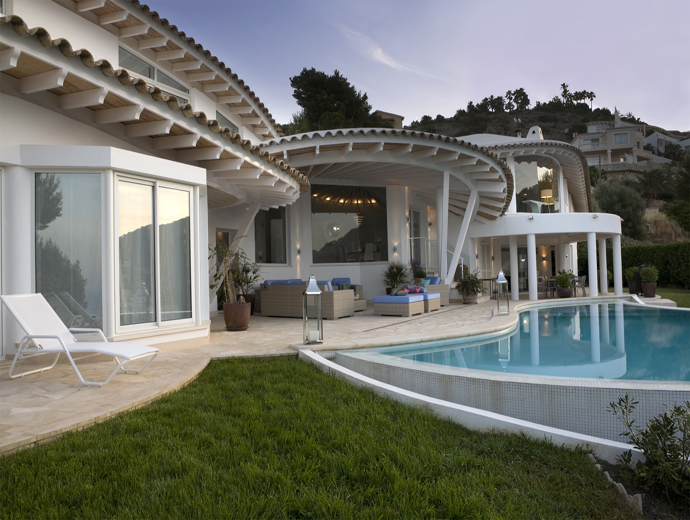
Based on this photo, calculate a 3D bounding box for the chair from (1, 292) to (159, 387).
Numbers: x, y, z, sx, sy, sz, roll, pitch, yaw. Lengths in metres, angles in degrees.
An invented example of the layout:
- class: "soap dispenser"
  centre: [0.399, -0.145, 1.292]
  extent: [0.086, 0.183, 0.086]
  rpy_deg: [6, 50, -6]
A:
- class: "chair"
  centre: [-3.688, 1.049, 7.275]
  extent: [2.171, 1.347, 1.167]
  rpy_deg: [0, -2, 16]

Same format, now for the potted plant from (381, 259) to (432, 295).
- class: "potted plant"
  centre: [2.460, 0.658, 19.817]
  extent: [0.971, 1.384, 1.630]
  rpy_deg: [-5, -9, 37]

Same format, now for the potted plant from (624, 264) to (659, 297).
- class: "potted plant"
  centre: [11.780, 0.832, 20.354]
  extent: [0.699, 1.113, 2.165]
  rpy_deg: [-2, 0, 21]

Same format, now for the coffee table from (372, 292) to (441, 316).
- class: "coffee table"
  centre: [1.914, 1.266, 14.806]
  extent: [0.961, 0.634, 2.334]
  rpy_deg: [-3, 0, 45]

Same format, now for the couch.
- class: "couch"
  centre: [-0.614, 1.090, 16.225]
  extent: [2.952, 1.144, 4.843]
  rpy_deg: [-3, 0, 25]

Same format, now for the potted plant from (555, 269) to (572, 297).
- class: "potted plant"
  centre: [8.912, 1.005, 20.862]
  extent: [0.631, 0.990, 0.974]
  rpy_deg: [-2, 0, 9]

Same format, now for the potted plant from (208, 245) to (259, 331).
- class: "potted plant"
  centre: [-2.541, 0.691, 11.745]
  extent: [1.071, 1.906, 1.191]
  rpy_deg: [-2, 0, -8]

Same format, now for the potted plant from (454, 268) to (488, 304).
- class: "potted plant"
  centre: [4.733, 1.019, 19.326]
  extent: [0.963, 1.122, 1.077]
  rpy_deg: [0, 5, 18]
